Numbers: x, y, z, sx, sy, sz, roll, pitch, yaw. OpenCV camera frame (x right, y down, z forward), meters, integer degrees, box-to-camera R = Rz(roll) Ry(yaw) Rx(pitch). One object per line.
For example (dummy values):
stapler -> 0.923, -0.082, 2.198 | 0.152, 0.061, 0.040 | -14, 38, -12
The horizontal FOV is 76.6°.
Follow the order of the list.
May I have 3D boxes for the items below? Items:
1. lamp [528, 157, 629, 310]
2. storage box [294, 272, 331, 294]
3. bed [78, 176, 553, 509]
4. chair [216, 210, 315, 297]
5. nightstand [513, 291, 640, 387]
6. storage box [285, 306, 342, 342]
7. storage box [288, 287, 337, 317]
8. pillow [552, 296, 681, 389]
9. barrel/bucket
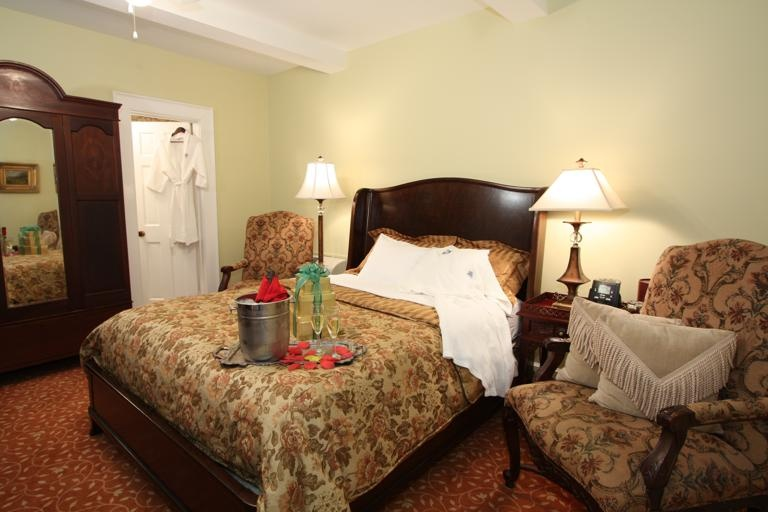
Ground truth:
lamp -> 1.550, -0.164, 3.967 | 0.842, 1.145, 0.871 | 1, 4, -24
storage box -> -0.521, 0.171, 3.387 | 0.157, 0.099, 0.156 | -2, 9, -30
bed -> -0.213, 0.553, 4.176 | 2.401, 2.205, 3.466 | 6, 8, 39
chair -> -1.381, 0.232, 5.531 | 0.867, 1.445, 0.856 | 2, 8, 3
nightstand -> 1.390, 0.743, 3.824 | 0.459, 0.466, 0.371 | 10, -8, 37
storage box -> -0.465, 0.471, 3.227 | 0.265, 0.169, 0.265 | -4, 7, -38
storage box -> -0.478, 0.269, 3.359 | 0.245, 0.221, 0.227 | -4, 8, -41
pillow -> 1.464, 0.555, 3.032 | 0.508, 0.466, 0.200 | 13, 6, 34
barrel/bucket -> -0.752, 0.454, 3.120 | 0.345, 0.381, 0.374 | -1, 2, 0
